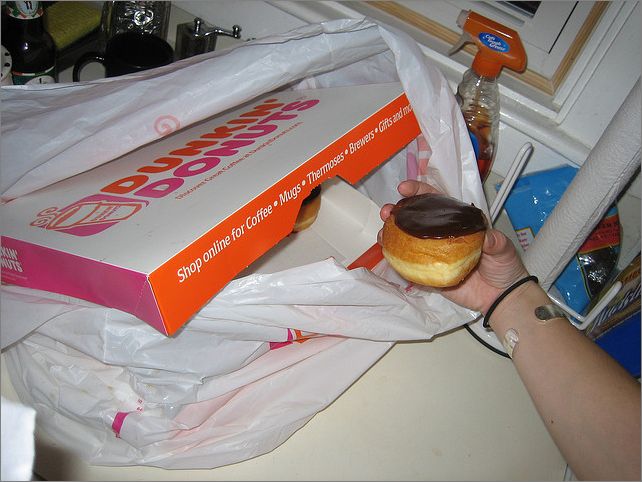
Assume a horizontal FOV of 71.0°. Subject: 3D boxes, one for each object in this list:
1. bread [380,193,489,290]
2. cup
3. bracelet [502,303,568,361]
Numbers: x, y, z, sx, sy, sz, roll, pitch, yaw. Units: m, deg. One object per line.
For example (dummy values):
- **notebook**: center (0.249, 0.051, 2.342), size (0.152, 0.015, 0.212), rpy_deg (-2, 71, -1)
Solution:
- **bread**: center (0.145, -0.002, 0.589), size (0.125, 0.088, 0.121), rpy_deg (21, 43, 16)
- **cup**: center (-0.358, -0.331, 0.826), size (0.163, 0.070, 0.143), rpy_deg (2, 41, -6)
- **bracelet**: center (0.310, 0.129, 0.682), size (0.036, 0.088, 0.076), rpy_deg (41, 12, -29)
